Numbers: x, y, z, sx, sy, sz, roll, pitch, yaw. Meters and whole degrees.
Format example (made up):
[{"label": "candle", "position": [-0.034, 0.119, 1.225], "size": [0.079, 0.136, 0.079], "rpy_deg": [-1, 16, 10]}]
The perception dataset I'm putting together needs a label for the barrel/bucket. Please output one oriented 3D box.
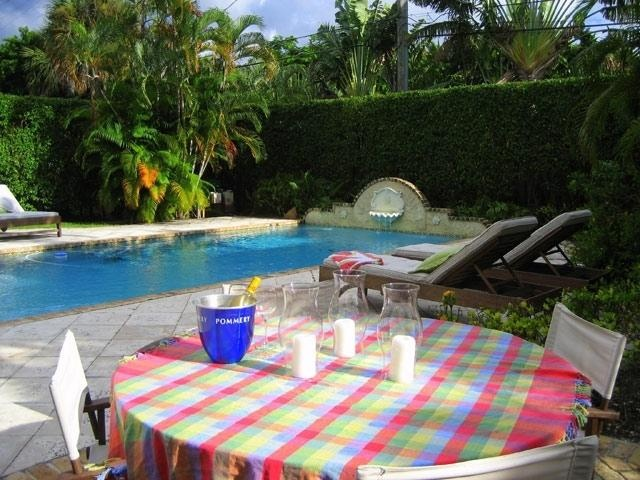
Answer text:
[{"label": "barrel/bucket", "position": [-0.355, 0.341, 1.869], "size": [0.239, 0.264, 0.254], "rpy_deg": [-1, 0, 0]}]
